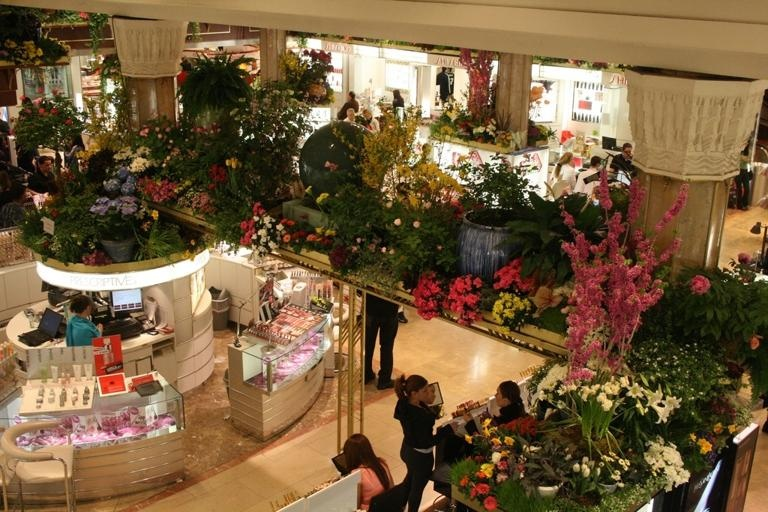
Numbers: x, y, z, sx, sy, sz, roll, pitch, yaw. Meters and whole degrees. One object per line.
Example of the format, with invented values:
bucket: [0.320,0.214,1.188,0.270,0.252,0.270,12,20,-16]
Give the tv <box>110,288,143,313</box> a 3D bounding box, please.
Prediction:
tv: [-3.670,0.632,7.560,0.406,0.343,0.144,-5,18,-27]

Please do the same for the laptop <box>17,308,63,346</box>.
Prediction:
laptop: [-4.660,1.013,7.300,0.460,0.298,0.490,29,34,28]

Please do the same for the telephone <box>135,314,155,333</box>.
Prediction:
telephone: [-3.411,0.970,7.646,0.186,0.086,0.260,-14,58,-34]
